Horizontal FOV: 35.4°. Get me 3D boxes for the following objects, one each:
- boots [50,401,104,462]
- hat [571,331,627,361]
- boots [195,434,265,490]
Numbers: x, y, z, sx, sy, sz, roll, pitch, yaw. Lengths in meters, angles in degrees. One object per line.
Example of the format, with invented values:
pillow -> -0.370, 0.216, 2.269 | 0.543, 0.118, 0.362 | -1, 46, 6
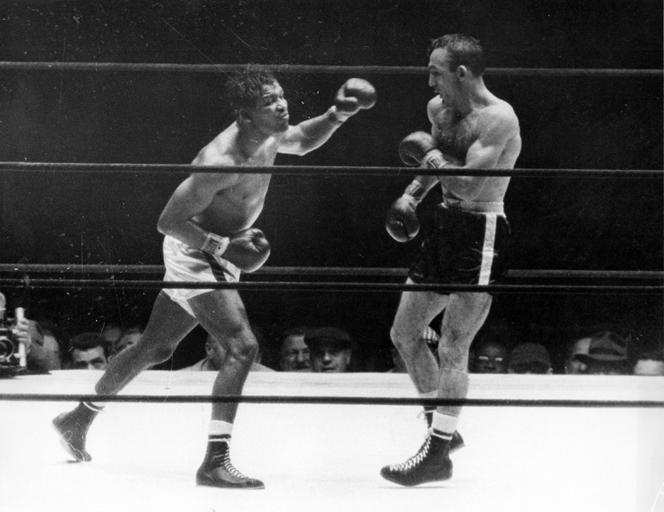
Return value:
boots -> -0.868, 0.595, 3.525 | 0.160, 0.187, 0.085 | 5, 5, -13
hat -> 0.889, 0.297, 3.433 | 0.160, 0.049, 0.103 | 2, -2, -14
boots -> -0.338, 0.703, 3.528 | 0.264, 0.161, 0.088 | 2, -9, 17
